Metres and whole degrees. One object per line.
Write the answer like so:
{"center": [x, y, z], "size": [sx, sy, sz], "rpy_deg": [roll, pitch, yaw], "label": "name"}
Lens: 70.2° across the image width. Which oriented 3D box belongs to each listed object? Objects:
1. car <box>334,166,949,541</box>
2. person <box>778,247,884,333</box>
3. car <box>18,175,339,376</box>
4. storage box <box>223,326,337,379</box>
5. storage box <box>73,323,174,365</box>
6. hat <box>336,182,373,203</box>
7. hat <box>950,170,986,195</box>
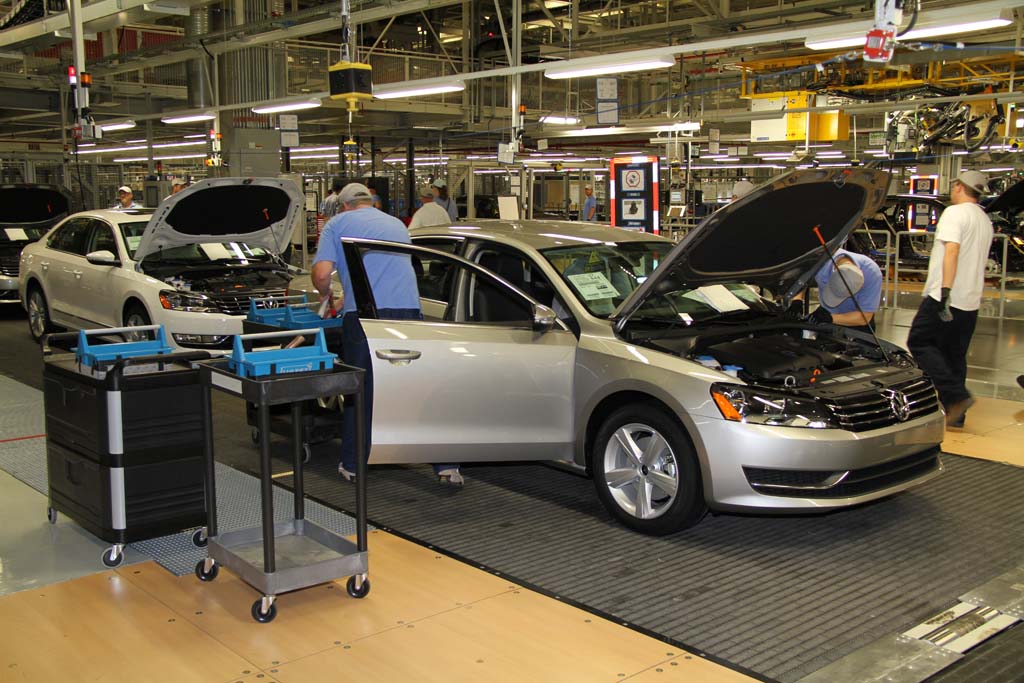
{"center": [0.580, 0.102, 5.981], "size": [4.424, 1.440, 3.557], "rpy_deg": [6, 9, 39], "label": "car"}
{"center": [3.071, -0.536, 6.832], "size": [0.961, 0.406, 0.522], "rpy_deg": [-7, 33, -30], "label": "person"}
{"center": [-5.417, -1.269, 11.133], "size": [5.855, 2.021, 2.433], "rpy_deg": [8, 17, 37], "label": "car"}
{"center": [-1.380, 0.047, 4.501], "size": [0.671, 0.209, 0.389], "rpy_deg": [-3, 9, -33], "label": "storage box"}
{"center": [-3.230, 0.021, 6.094], "size": [0.547, 0.198, 0.385], "rpy_deg": [-7, 10, -42], "label": "storage box"}
{"center": [-1.397, -1.332, 6.509], "size": [0.323, 0.119, 0.194], "rpy_deg": [1, 14, 8], "label": "hat"}
{"center": [4.903, -1.698, 7.751], "size": [0.315, 0.243, 0.347], "rpy_deg": [8, 16, 27], "label": "hat"}
